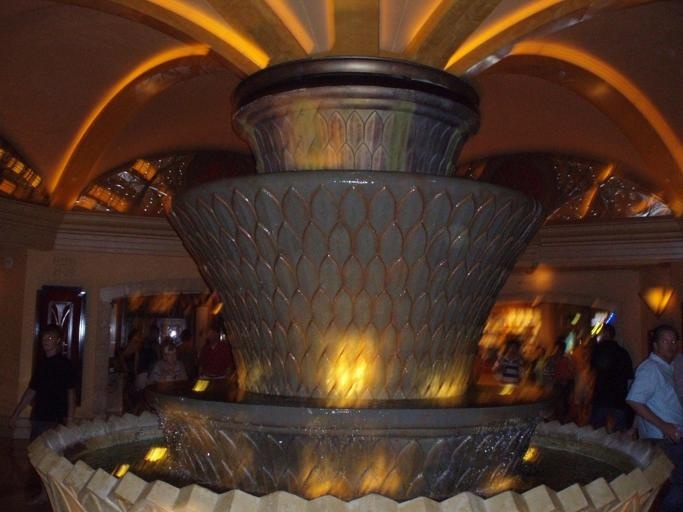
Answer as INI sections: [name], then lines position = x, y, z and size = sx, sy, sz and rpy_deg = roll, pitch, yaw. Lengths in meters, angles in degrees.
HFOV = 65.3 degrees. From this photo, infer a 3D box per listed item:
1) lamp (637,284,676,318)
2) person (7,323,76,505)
[lamp]
position = 5.979, 0.877, 10.090
size = 0.435, 0.462, 0.472
rpy_deg = 3, -2, 10
[person]
position = -3.166, 1.392, 5.737
size = 0.567, 1.296, 0.593
rpy_deg = 4, -5, -9
